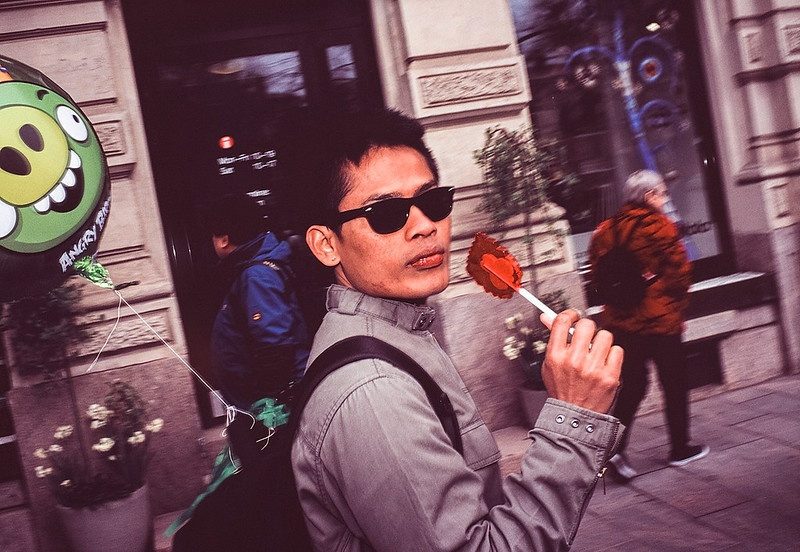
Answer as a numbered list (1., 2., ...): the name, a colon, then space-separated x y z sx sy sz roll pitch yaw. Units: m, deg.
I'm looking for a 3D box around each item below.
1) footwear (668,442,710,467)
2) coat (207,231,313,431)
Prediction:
1. footwear: 2.355 1.479 5.870 0.347 0.125 0.150 -19 18 7
2. coat: -0.975 0.364 5.050 0.726 1.372 1.610 -5 0 -10
